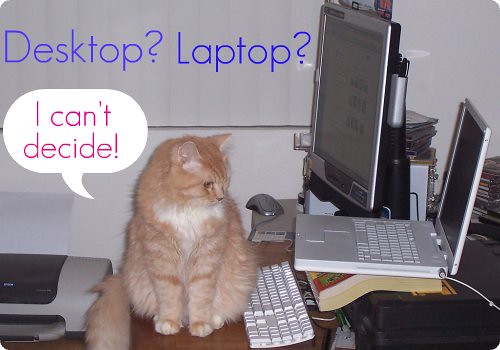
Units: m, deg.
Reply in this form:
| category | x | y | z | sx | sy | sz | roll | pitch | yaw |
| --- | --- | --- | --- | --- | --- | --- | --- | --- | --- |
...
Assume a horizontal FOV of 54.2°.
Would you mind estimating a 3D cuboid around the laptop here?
| category | x | y | z | sx | sy | sz | roll | pitch | yaw |
| --- | --- | --- | --- | --- | --- | --- | --- | --- | --- |
| laptop | 0.426 | 0.060 | 1.703 | 0.592 | 0.580 | 0.503 | 3 | 22 | 5 |

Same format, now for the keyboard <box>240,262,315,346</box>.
| category | x | y | z | sx | sy | sz | roll | pitch | yaw |
| --- | --- | --- | --- | --- | --- | --- | --- | --- | --- |
| keyboard | 0.083 | 0.415 | 1.539 | 0.143 | 0.046 | 0.302 | -6 | 32 | 2 |

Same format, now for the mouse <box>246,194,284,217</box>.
| category | x | y | z | sx | sy | sz | roll | pitch | yaw |
| --- | --- | --- | --- | --- | --- | --- | --- | --- | --- |
| mouse | 0.065 | 0.126 | 2.269 | 0.134 | 0.082 | 0.200 | 0 | 7 | -27 |

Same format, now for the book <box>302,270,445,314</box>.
| category | x | y | z | sx | sy | sz | roll | pitch | yaw |
| --- | --- | --- | --- | --- | --- | --- | --- | --- | --- |
| book | 0.390 | 0.357 | 1.539 | 0.416 | 0.108 | 0.141 | -1 | 2 | 8 |

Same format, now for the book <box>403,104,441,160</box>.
| category | x | y | z | sx | sy | sz | roll | pitch | yaw |
| --- | --- | --- | --- | --- | --- | --- | --- | --- | --- |
| book | 0.658 | -0.174 | 1.883 | 0.141 | 0.078 | 0.185 | 4 | 22 | 24 |
